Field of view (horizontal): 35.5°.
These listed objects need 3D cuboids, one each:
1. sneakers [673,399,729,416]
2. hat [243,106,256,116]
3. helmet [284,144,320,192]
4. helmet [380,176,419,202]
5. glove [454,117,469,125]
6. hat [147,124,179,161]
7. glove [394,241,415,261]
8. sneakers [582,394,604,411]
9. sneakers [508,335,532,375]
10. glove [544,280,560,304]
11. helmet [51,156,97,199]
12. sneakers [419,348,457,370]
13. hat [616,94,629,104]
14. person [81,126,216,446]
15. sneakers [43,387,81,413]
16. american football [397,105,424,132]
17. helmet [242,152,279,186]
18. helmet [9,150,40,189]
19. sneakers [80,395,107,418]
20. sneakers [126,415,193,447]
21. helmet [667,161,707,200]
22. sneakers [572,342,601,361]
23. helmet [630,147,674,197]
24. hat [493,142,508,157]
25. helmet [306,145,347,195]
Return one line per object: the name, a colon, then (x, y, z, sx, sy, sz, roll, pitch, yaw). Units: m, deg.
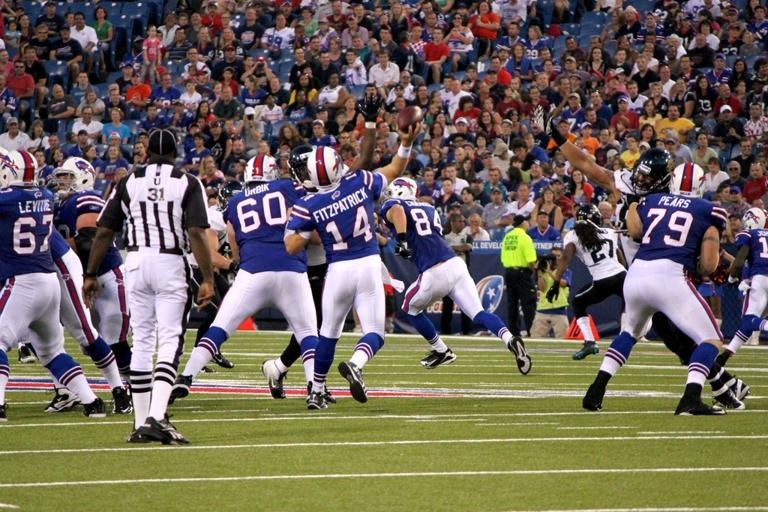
sneakers: (3.193, 1.545, 12.039, 0.537, 0.209, 0.185, -3, 1, -5)
hat: (-2.720, -2.953, 24.424, 0.170, 0.124, 0.250, -1, 12, -13)
helmet: (-0.881, -0.939, 12.507, 0.353, 0.437, 0.433, -22, 26, -10)
helmet: (0.212, -0.846, 15.172, 0.362, 0.291, 0.278, 4, -6, 19)
glove: (1.487, -2.577, 22.813, 0.214, 0.119, 0.303, 2, -5, 5)
hat: (-1.983, -1.077, 11.162, 0.362, 0.269, 0.567, 9, 17, -12)
glove: (0.254, -0.089, 15.273, 0.301, 0.285, 0.130, 5, 16, 25)
sneakers: (2.142, 1.518, 12.339, 0.192, 0.159, 0.225, 1, 3, 9)
sneakers: (1.702, 1.289, 15.099, 0.187, 0.510, 0.215, -30, 4, -20)
glove: (2.605, 0.556, 18.460, 0.160, 0.169, 0.473, -14, -9, 7)
helmet: (-3.272, -0.830, 12.833, 0.464, 0.433, 0.391, 2, 0, -9)
sneakers: (0.645, 1.328, 15.103, 0.516, 0.188, 0.255, -14, -33, 18)
hat: (4.395, -2.920, 22.120, 0.159, 0.138, 0.261, -2, -3, 16)
person: (-2.121, 0.418, 10.926, 1.092, 2.521, 0.829, 0, 4, 1)
sneakers: (-3.311, 1.495, 12.404, 0.249, 0.272, 0.379, 4, 5, 45)
american football: (0.323, -1.503, 12.821, 0.285, 0.210, 0.215, -27, -8, -43)
helmet: (-1.333, -0.947, 13.113, 0.363, 0.336, 0.377, 0, 3, -4)
helmet: (-3.550, -0.896, 11.922, 0.263, 0.298, 0.346, -3, 26, -43)
sneakers: (-2.937, 1.551, 12.132, 0.229, 0.239, 0.565, 2, -1, -16)
sneakers: (-1.984, 1.574, 10.624, 0.497, 0.217, 0.230, 3, -1, -13)
helmet: (3.146, -0.787, 12.451, 0.303, 0.348, 0.394, 7, 8, 16)
sneakers: (2.940, 1.414, 17.408, 0.312, 0.151, 0.113, -23, -36, 10)
helmet: (2.765, -0.845, 12.350, 0.510, 0.468, 0.365, -20, 25, -15)
hat: (2.140, -1.962, 21.940, 0.257, 0.300, 0.421, 0, 3, -8)
helmet: (-0.595, -0.950, 12.424, 0.352, 0.455, 0.384, -21, -38, 20)
